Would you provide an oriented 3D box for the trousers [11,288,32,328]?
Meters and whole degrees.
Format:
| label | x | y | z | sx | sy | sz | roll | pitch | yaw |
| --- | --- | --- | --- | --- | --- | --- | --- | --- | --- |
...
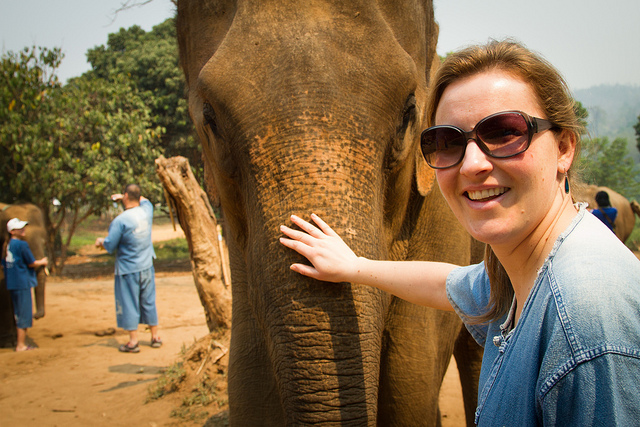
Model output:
| label | x | y | z | sx | sy | sz | roll | pitch | yaw |
| --- | --- | --- | --- | --- | --- | --- | --- | --- | --- |
| trousers | -3.137 | 0.986 | 6.593 | 0.195 | 0.346 | 0.381 | 4 | 3 | -28 |

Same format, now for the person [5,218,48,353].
| label | x | y | z | sx | sy | sz | roll | pitch | yaw |
| --- | --- | --- | --- | --- | --- | --- | --- | --- | --- |
| person | -3.230 | 0.772 | 6.786 | 0.418 | 1.435 | 0.959 | 4 | 3 | -24 |

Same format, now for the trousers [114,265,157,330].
| label | x | y | z | sx | sy | sz | roll | pitch | yaw |
| --- | --- | --- | --- | --- | --- | --- | --- | --- | --- |
| trousers | -2.237 | 1.010 | 7.665 | 0.270 | 0.769 | 0.588 | 7 | 3 | 34 |

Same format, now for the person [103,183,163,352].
| label | x | y | z | sx | sy | sz | roll | pitch | yaw |
| --- | --- | --- | --- | --- | --- | --- | --- | --- | --- |
| person | -2.236 | 0.666 | 7.632 | 0.732 | 2.074 | 0.831 | 4 | 3 | -16 |

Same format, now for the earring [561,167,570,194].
| label | x | y | z | sx | sy | sz | roll | pitch | yaw |
| --- | --- | --- | --- | --- | --- | --- | --- | --- | --- |
| earring | 1.191 | -0.149 | 3.030 | 0.044 | 0.109 | 0.014 | 3 | 4 | -42 |
